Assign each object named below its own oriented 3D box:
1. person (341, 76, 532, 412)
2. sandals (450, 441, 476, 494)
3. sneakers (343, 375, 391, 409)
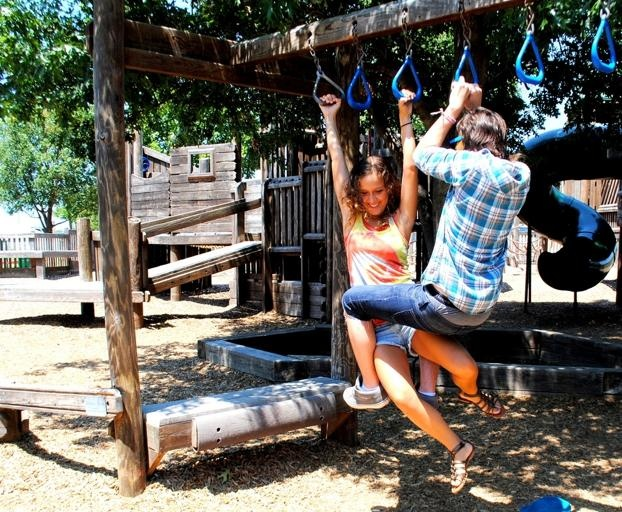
[{"bbox_3d":[0.723,-0.053,3.574,0.963,1.958,0.484,2,5,19],"label":"person"},{"bbox_3d":[0.877,1.220,3.621,0.125,0.330,0.145,2,5,17],"label":"sandals"},{"bbox_3d":[0.314,0.832,3.852,0.155,0.140,0.319,29,-16,-32],"label":"sneakers"}]
